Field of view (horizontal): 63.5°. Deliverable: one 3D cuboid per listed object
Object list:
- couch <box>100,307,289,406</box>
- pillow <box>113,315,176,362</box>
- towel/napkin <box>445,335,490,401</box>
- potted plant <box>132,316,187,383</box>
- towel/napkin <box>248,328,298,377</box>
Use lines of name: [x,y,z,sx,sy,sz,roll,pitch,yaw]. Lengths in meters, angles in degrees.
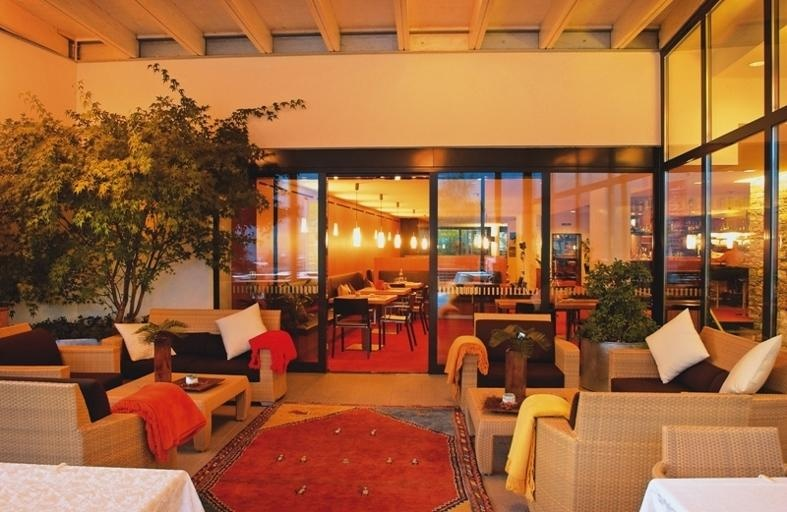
couch: [-2.497,1.320,8.402,1.984,1.193,0.879,1,2,2]
pillow: [-3.236,1.092,8.351,0.180,0.597,0.573,-34,-23,30]
towel/napkin: [1.139,1.331,7.928,0.609,0.625,0.559,-6,3,-21]
potted plant: [-2.693,1.065,7.640,0.762,0.764,0.739,1,-3,-26]
towel/napkin: [-1.536,1.235,8.275,0.554,0.521,0.552,1,-1,3]
